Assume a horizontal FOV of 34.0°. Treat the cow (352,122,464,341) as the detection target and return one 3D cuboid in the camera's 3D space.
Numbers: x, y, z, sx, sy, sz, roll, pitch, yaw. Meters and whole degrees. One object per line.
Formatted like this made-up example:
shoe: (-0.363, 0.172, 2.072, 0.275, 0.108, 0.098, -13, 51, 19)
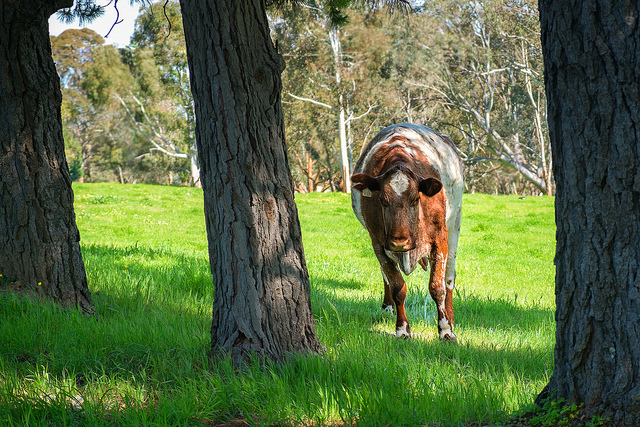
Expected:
cow: (2.183, 0.387, 24.541, 2.119, 4.961, 2.944, 3, 2, 43)
